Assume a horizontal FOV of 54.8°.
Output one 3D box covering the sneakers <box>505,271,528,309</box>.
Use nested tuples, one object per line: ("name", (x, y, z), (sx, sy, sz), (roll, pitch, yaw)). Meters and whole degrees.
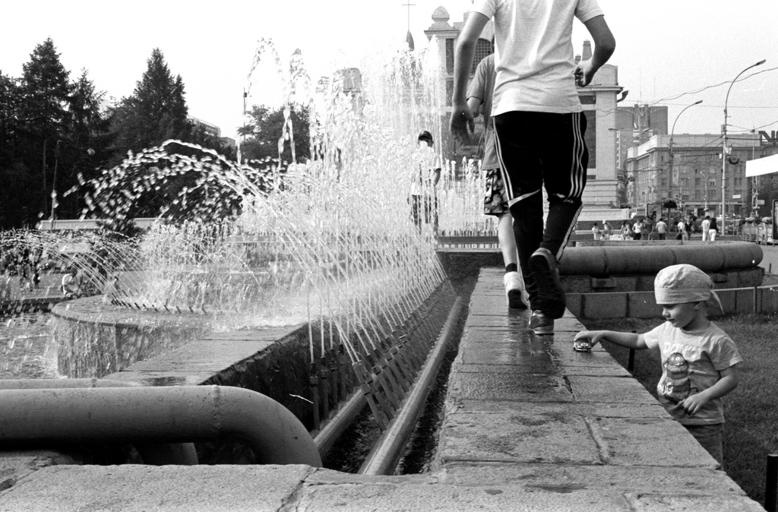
("sneakers", (0.873, 0.238, 5.161), (0.112, 0.132, 0.314), (-4, -36, 5))

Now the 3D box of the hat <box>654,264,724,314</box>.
("hat", (1.587, 0.172, 3.968), (0.313, 0.232, 0.232), (-4, -3, 7))

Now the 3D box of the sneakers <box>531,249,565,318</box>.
("sneakers", (0.907, 0.159, 4.238), (0.148, 0.437, 0.186), (-2, 31, 34))

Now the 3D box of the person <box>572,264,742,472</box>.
("person", (1.577, 0.525, 3.906), (0.335, 0.959, 0.443), (-2, 3, -2))
